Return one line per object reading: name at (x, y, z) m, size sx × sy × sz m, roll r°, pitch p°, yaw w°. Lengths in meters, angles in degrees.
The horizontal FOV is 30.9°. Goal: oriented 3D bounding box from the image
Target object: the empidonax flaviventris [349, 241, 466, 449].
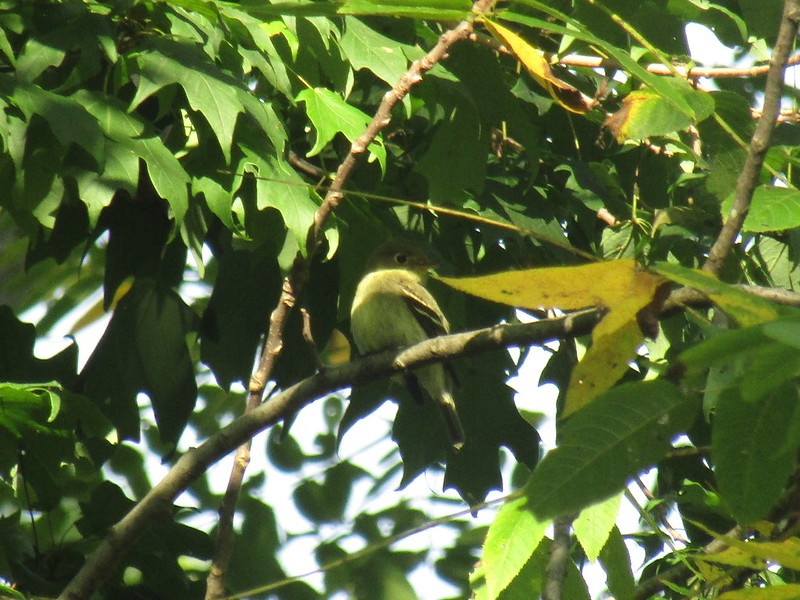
empidonax flaviventris at (0.074, 0.158, 7.346) m, size 0.477 × 1.269 × 0.382 m, roll -12°, pitch -15°, yaw 14°
